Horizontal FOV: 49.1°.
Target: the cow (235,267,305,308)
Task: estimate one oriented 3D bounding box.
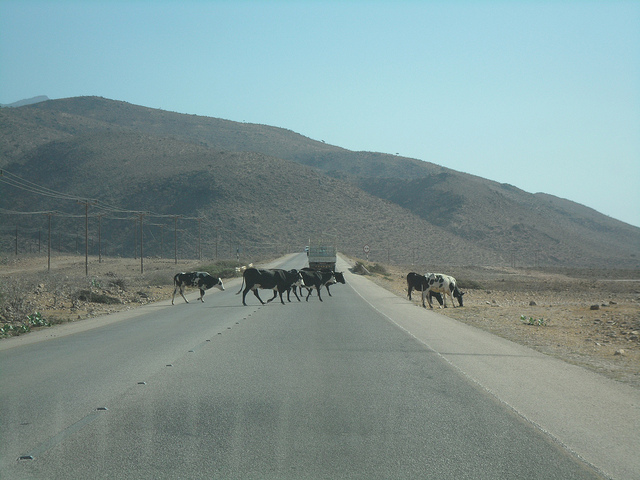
[{"bbox_3d":[-2.109,2.056,32.078,2.821,1.834,5.552,-2,-4,-2],"label":"cow"}]

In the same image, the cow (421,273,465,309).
[{"bbox_3d":[5.757,2.456,33.983,1.459,1.619,3.161,-4,-4,35],"label":"cow"}]

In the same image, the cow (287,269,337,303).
[{"bbox_3d":[-0.024,2.125,35.690,3.202,1.801,0.967,-2,5,-42],"label":"cow"}]

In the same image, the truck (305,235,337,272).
[{"bbox_3d":[0.173,1.918,55.455,3.010,2.984,4.741,2,3,0],"label":"truck"}]

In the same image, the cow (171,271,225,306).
[{"bbox_3d":[-6.101,2.280,34.407,1.227,1.495,3.279,-2,-4,13],"label":"cow"}]
